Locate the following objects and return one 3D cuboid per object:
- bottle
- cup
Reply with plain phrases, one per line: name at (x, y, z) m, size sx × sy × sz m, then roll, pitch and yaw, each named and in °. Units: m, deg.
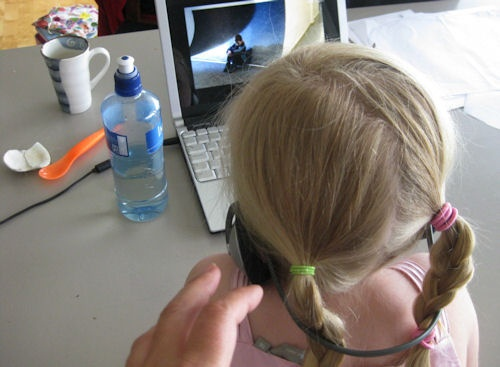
bottle at (-0.261, -0.118, 0.987) m, size 0.130 × 0.340 × 0.214 m, roll -9°, pitch 40°, yaw -10°
cup at (-0.446, -0.288, 1.180) m, size 0.149 × 0.168 × 0.111 m, roll -11°, pitch 44°, yaw -18°
